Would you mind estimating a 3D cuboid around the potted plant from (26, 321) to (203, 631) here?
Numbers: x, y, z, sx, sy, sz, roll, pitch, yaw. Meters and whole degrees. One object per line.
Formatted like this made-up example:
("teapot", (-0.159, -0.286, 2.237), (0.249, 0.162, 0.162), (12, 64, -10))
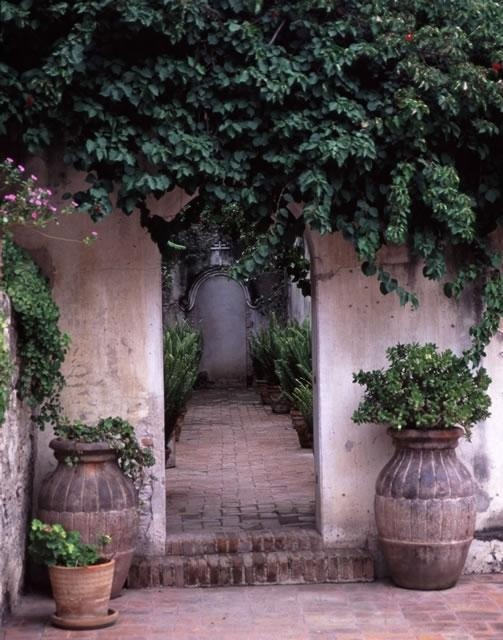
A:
("potted plant", (-1.002, 1.120, 5.854), (1.400, 2.647, 0.864), (13, -22, -25))
